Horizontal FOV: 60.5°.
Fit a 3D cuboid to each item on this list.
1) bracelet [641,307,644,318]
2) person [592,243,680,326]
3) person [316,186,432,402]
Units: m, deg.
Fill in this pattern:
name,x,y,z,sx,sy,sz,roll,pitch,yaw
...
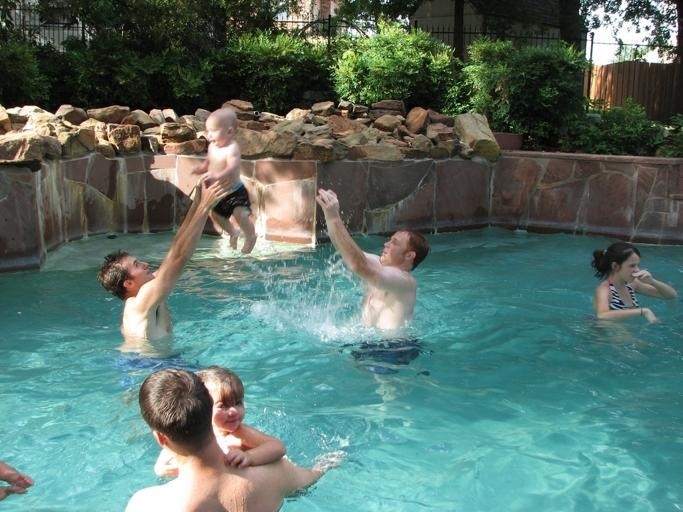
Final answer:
name,x,y,z,sx,sy,sz,roll,pitch,yaw
bracelet,3.347,0.613,6.504,0.041,0.087,0.042,4,11,17
person,3.264,0.264,6.584,0.835,0.877,0.490,-1,11,-12
person,0.341,0.242,5.529,0.725,1.772,1.137,5,11,22
